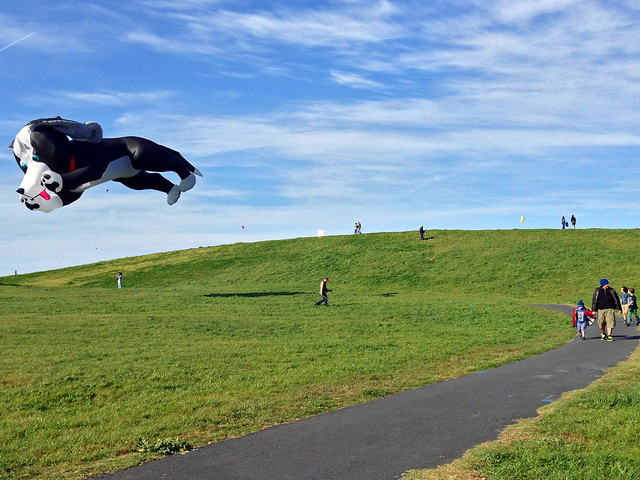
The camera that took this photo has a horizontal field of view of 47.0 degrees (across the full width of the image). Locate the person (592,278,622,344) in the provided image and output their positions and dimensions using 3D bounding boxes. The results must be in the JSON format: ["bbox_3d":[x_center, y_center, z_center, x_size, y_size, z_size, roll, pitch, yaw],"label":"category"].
[{"bbox_3d":[13.068,3.141,33.393,1.376,2.633,1.152,1,-3,-40],"label":"person"}]
